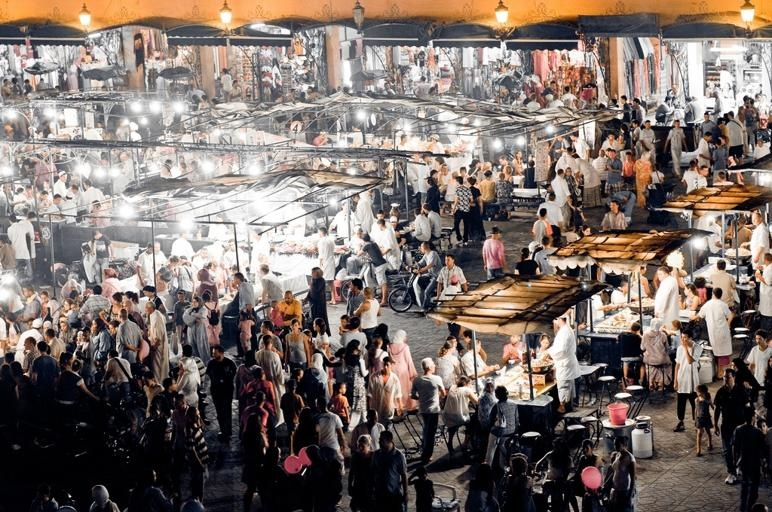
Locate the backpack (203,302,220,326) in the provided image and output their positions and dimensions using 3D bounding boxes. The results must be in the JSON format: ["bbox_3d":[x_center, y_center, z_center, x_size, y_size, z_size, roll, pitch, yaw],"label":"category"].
[{"bbox_3d":[-4.019,1.366,22.314,0.205,0.569,0.692,-2,6,13],"label":"backpack"}]

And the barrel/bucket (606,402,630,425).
[{"bbox_3d":[4.368,3.012,18.356,0.414,0.300,0.435,-6,5,1],"label":"barrel/bucket"}]

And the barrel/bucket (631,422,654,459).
[{"bbox_3d":[4.851,3.501,18.280,0.515,0.594,0.520,-3,4,0],"label":"barrel/bucket"}]

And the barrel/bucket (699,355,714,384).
[{"bbox_3d":[6.946,2.480,20.630,0.454,0.603,0.629,-1,6,17],"label":"barrel/bucket"}]

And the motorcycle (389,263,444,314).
[{"bbox_3d":[0.835,0.938,25.674,1.523,0.919,0.860,-2,11,2],"label":"motorcycle"}]

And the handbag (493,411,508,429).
[{"bbox_3d":[2.064,2.980,17.474,0.228,0.287,0.291,6,4,3],"label":"handbag"}]

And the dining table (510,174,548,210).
[{"bbox_3d":[4.812,-2.097,32.133,1.145,0.527,1.771,-1,15,6],"label":"dining table"}]

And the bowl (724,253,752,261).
[{"bbox_3d":[8.914,0.007,24.464,0.522,0.199,0.486,-3,6,0],"label":"bowl"}]
